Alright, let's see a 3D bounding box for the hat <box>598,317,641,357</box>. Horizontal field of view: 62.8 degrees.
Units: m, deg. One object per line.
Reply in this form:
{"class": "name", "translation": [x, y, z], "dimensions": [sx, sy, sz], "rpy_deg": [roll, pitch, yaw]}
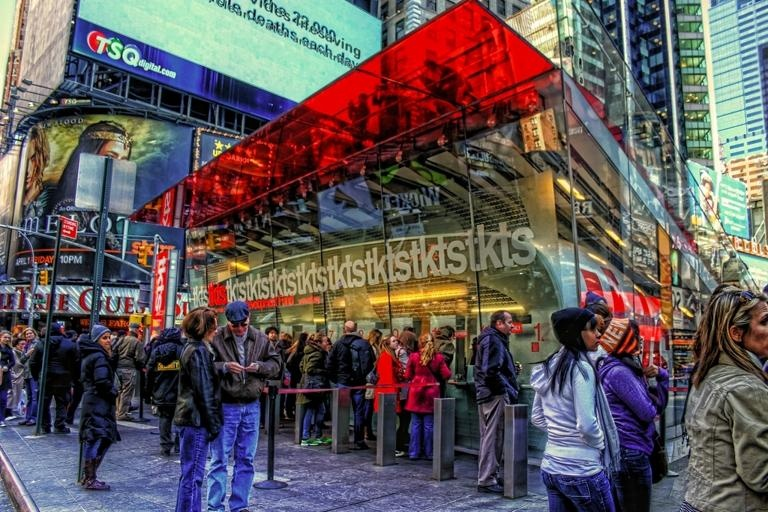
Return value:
{"class": "hat", "translation": [3.034, 0.998, 7.929], "dimensions": [0.502, 0.462, 0.406], "rpy_deg": [-19, 23, -29]}

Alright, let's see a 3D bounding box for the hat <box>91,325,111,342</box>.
{"class": "hat", "translation": [-5.056, 1.392, 11.309], "dimensions": [0.316, 0.275, 0.285], "rpy_deg": [-5, -3, -23]}

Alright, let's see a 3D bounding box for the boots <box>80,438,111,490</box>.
{"class": "boots", "translation": [-4.670, 3.388, 10.280], "dimensions": [0.459, 0.790, 0.375], "rpy_deg": [5, -11, -22]}

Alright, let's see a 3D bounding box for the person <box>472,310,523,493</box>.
{"class": "person", "translation": [1.864, 2.438, 10.586], "dimensions": [0.683, 2.959, 0.591], "rpy_deg": [-1, -11, 13]}

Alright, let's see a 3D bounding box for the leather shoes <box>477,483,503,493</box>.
{"class": "leather shoes", "translation": [1.768, 3.867, 10.511], "dimensions": [0.410, 0.165, 0.142], "rpy_deg": [-2, -6, 8]}

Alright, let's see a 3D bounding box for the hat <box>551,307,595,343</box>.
{"class": "hat", "translation": [2.165, 0.781, 7.291], "dimensions": [0.381, 0.448, 0.351], "rpy_deg": [6, 10, 9]}

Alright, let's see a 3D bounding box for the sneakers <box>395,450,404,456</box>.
{"class": "sneakers", "translation": [0.328, 3.997, 12.724], "dimensions": [0.094, 0.101, 0.260], "rpy_deg": [1, -21, 0]}

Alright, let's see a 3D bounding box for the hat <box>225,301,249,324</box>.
{"class": "hat", "translation": [-2.181, 0.843, 9.419], "dimensions": [0.324, 0.335, 0.220], "rpy_deg": [3, -10, -9]}
